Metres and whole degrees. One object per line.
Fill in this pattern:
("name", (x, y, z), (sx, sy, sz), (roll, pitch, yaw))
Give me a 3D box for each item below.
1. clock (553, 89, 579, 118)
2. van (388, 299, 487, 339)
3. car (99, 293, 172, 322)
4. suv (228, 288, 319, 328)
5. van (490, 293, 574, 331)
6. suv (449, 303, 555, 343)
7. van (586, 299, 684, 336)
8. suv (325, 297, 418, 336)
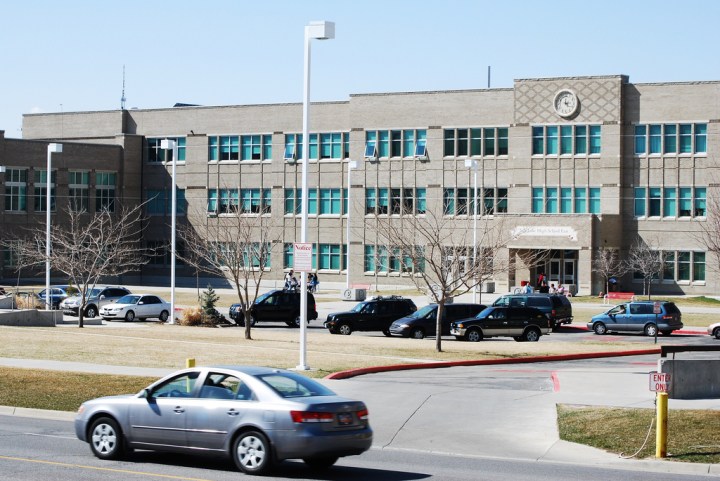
("clock", (16.096, -10.574, 96.277), (1.960, 2.270, 0.433), (-3, -4, 28))
("van", (3.811, 4.112, 65.131), (4.513, 1.471, 2.044), (0, -1, -10))
("car", (-12.939, 3.878, 71.433), (1.776, 1.470, 4.218), (-1, -1, 27))
("suv", (-5.036, 3.827, 70.977), (5.003, 1.941, 2.122), (2, 3, -15))
("van", (9.847, 4.024, 70.720), (4.348, 1.948, 2.830), (0, 1, 32))
("suv", (7.140, 4.105, 63.543), (4.279, 1.505, 1.980), (2, -3, -13))
("van", (15.149, 4.257, 67.810), (4.699, 1.845, 1.686), (-4, -5, 40))
("suv", (0.499, 4.032, 67.391), (5.298, 2.028, 2.092), (0, 5, -21))
